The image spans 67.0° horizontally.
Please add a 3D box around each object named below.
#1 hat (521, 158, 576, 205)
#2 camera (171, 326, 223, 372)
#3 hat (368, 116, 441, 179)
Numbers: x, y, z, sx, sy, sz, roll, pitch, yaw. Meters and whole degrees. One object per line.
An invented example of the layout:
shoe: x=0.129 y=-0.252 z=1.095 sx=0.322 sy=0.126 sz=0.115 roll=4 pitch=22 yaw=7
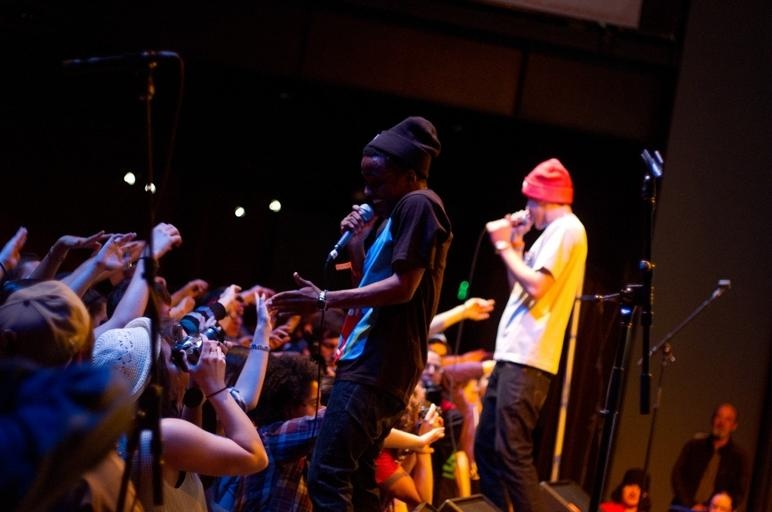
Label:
hat: x=1.122 y=-0.496 z=4.045 sx=0.307 sy=0.281 sz=0.294 roll=5 pitch=5 yaw=2
camera: x=-0.926 y=0.433 z=2.897 sx=0.146 sy=0.239 sz=0.106 roll=46 pitch=-18 yaw=13
hat: x=0.131 y=-0.656 z=3.244 sx=0.383 sy=0.282 sz=0.283 roll=33 pitch=7 yaw=-16
